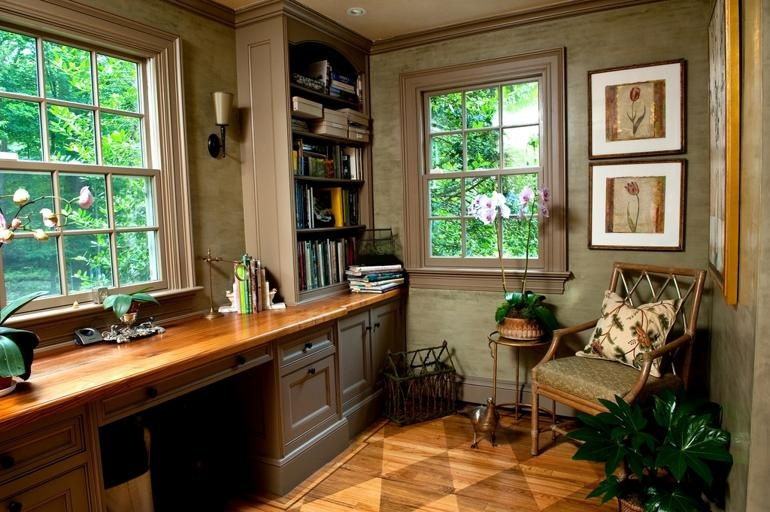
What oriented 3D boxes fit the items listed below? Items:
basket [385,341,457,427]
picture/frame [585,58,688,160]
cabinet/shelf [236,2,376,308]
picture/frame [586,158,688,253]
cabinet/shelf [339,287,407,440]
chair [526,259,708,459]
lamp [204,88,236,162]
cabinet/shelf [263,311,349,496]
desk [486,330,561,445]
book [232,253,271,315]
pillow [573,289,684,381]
[{"bbox_3d":[0.342,1.099,4.641,0.674,0.511,0.600,0,-23,-15],"label":"basket"},{"bbox_3d":[1.960,-1.125,4.022,0.931,0.858,0.072,0,0,21],"label":"picture/frame"},{"bbox_3d":[-0.678,-0.823,4.391,0.631,2.265,1.276,5,16,27],"label":"cabinet/shelf"},{"bbox_3d":[1.975,-0.392,4.051,0.817,0.763,0.056,1,-1,21],"label":"picture/frame"},{"bbox_3d":[-0.259,0.869,4.492,0.444,1.031,1.175,3,7,28],"label":"cabinet/shelf"},{"bbox_3d":[1.645,0.807,3.784,1.125,1.304,0.960,-6,9,-15],"label":"chair"},{"bbox_3d":[-1.203,-0.952,3.901,0.260,0.472,0.165,-14,18,-37],"label":"lamp"},{"bbox_3d":[-0.434,1.060,3.858,0.434,1.068,0.842,20,-45,-42],"label":"cabinet/shelf"},{"bbox_3d":[1.151,0.997,4.250,0.605,0.639,0.566,-4,-14,5],"label":"desk"},{"bbox_3d":[-0.989,0.204,3.864,0.280,0.415,0.186,-7,15,-18],"label":"book"},{"bbox_3d":[1.769,0.521,3.810,0.407,0.433,0.650,-21,15,-29],"label":"pillow"}]
